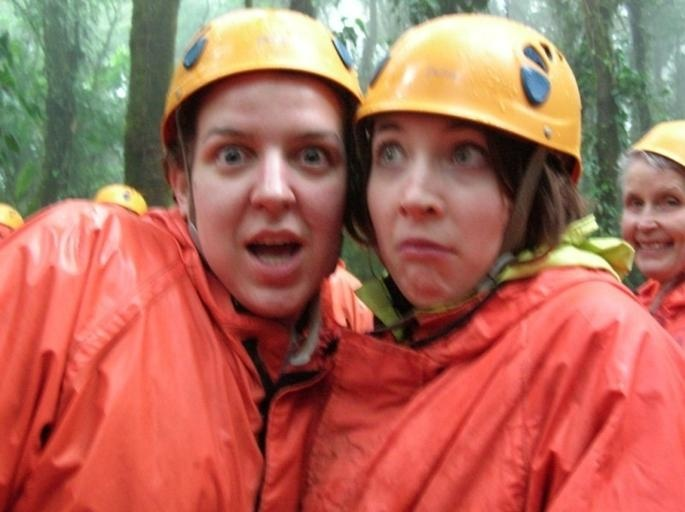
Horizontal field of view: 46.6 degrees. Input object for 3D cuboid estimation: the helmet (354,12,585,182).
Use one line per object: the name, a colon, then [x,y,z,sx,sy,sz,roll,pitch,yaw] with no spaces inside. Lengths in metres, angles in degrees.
helmet: [0.508,-0.641,2.919,0.583,0.475,0.523,4,11,-22]
